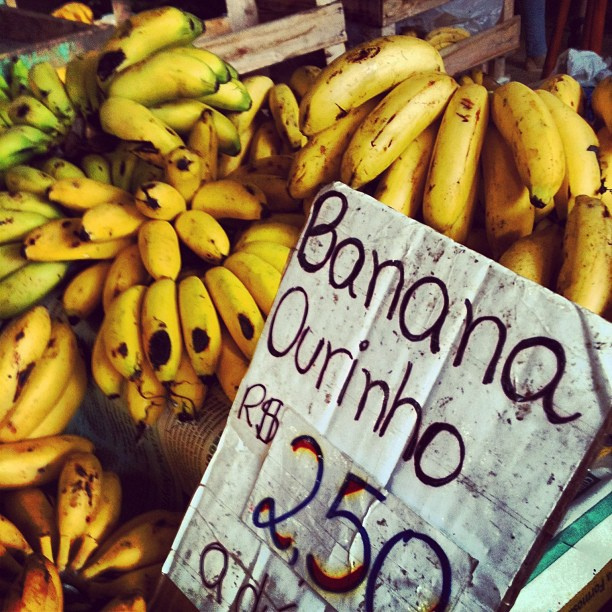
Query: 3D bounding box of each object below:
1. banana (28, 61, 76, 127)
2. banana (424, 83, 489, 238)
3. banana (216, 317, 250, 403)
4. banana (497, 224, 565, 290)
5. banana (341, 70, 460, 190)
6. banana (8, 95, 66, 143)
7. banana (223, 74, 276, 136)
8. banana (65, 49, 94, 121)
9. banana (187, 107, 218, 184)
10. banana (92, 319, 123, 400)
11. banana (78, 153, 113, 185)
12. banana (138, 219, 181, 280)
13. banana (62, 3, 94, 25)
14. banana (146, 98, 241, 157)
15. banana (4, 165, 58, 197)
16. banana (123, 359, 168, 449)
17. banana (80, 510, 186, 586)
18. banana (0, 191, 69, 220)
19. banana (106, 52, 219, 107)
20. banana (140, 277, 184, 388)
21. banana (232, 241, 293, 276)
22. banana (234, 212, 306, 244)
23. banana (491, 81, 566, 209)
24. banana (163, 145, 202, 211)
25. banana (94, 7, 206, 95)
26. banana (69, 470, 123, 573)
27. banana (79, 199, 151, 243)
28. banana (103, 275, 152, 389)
[{"bbox_3d":[-0.762,-0.610,1.976,0.067,0.200,0.100,-31,19,10],"label":"banana"},{"bbox_3d":[0.289,-0.283,1.356,0.087,0.119,0.365,12,89,17],"label":"banana"},{"bbox_3d":[-0.161,0.127,1.463,0.056,0.075,0.234,-9,78,1],"label":"banana"},{"bbox_3d":[0.409,-0.088,1.221,0.079,0.050,0.145,36,62,27],"label":"banana"},{"bbox_3d":[0.237,-0.355,1.480,0.125,0.364,0.130,-21,72,-24],"label":"banana"},{"bbox_3d":[-0.758,-0.537,1.933,0.170,0.073,0.092,34,69,-13],"label":"banana"},{"bbox_3d":[-0.164,-0.668,2.235,0.086,0.096,0.314,11,55,23],"label":"banana"},{"bbox_3d":[-0.622,-0.647,1.964,0.048,0.169,0.127,0,11,5],"label":"banana"},{"bbox_3d":[-0.264,-0.438,1.829,0.068,0.079,0.251,-1,79,20],"label":"banana"},{"bbox_3d":[-0.443,0.137,1.576,0.070,0.062,0.229,-6,72,11],"label":"banana"},{"bbox_3d":[-0.596,-0.392,1.941,0.069,0.060,0.138,-22,55,-27],"label":"banana"},{"bbox_3d":[-0.323,-0.127,1.523,0.077,0.046,0.144,0,67,-31],"label":"banana"},{"bbox_3d":[-1.423,-1.838,4.286,0.097,0.102,0.246,-42,52,-17],"label":"banana"},{"bbox_3d":[-0.315,-0.486,1.852,0.279,0.095,0.078,40,26,6],"label":"banana"},{"bbox_3d":[-0.738,-0.337,1.853,0.143,0.073,0.069,23,91,31],"label":"banana"},{"bbox_3d":[-0.355,0.214,1.550,0.076,0.252,0.085,19,22,26],"label":"banana"},{"bbox_3d":[-0.364,0.520,1.493,0.119,0.081,0.237,29,49,25],"label":"banana"},{"bbox_3d":[-0.700,-0.258,1.745,0.042,0.160,0.035,-50,46,19],"label":"banana"},{"bbox_3d":[-0.378,-0.604,1.850,0.334,0.116,0.131,1,20,15],"label":"banana"},{"bbox_3d":[-0.311,0.065,1.460,0.092,0.092,0.290,7,51,-26],"label":"banana"},{"bbox_3d":[-0.099,-0.125,1.542,0.139,0.039,0.079,33,68,31],"label":"banana"},{"bbox_3d":[-0.084,-0.180,1.591,0.203,0.057,0.068,-17,19,-21],"label":"banana"},{"bbox_3d":[0.423,-0.309,1.293,0.090,0.093,0.305,-10,56,4],"label":"banana"},{"bbox_3d":[-0.302,-0.318,1.711,0.125,0.272,0.101,7,84,-5],"label":"banana"},{"bbox_3d":[-0.458,-0.701,1.910,0.314,0.086,0.183,-28,76,5],"label":"banana"},{"bbox_3d":[-0.473,0.492,1.542,0.052,0.063,0.183,22,53,-16],"label":"banana"},{"bbox_3d":[-0.434,-0.193,1.576,0.058,0.088,0.183,-5,11,25],"label":"banana"},{"bbox_3d":[-0.382,0.057,1.495,0.071,0.086,0.239,-3,62,49],"label":"banana"}]
